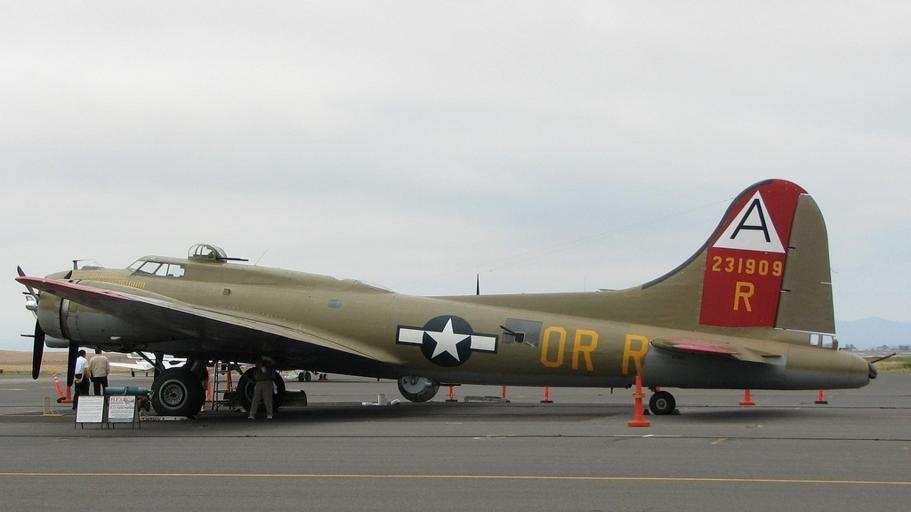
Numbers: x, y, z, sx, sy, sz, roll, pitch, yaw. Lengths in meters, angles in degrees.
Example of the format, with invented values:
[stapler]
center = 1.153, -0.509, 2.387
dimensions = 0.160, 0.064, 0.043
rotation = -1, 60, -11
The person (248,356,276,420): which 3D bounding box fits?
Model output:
[person]
center = -6.535, 4.518, 36.719
dimensions = 0.793, 2.105, 0.885
rotation = 4, -12, -8
